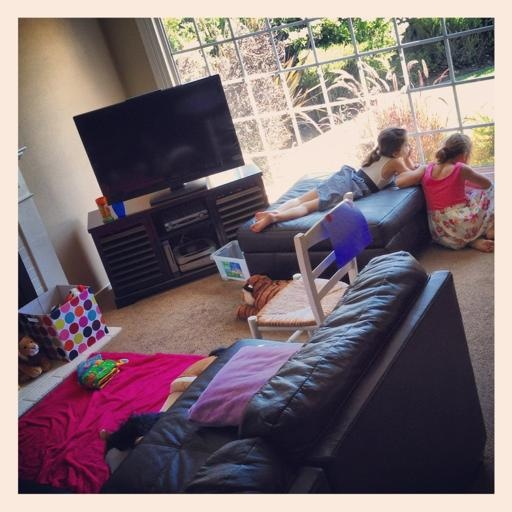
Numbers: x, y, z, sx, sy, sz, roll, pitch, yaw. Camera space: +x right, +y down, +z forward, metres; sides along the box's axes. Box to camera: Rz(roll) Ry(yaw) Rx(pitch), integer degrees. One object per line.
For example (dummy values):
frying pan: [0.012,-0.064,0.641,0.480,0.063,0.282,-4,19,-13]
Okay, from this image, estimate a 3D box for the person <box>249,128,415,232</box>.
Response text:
person: [0.571,-0.536,2.922,1.169,0.439,0.334,-15,25,-4]

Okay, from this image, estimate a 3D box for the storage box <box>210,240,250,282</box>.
storage box: [-0.163,0.044,3.243,0.279,0.236,0.350,-27,5,10]

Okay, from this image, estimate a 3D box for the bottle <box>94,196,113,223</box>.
bottle: [-1.243,-0.385,3.464,0.098,0.187,0.242,-25,19,-15]

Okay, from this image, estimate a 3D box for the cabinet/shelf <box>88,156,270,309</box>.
cabinet/shelf: [-0.531,-0.085,3.676,1.521,0.774,0.480,-21,-24,-4]

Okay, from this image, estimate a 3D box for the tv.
tv: [-0.839,-0.950,3.564,1.233,0.807,0.306,-17,31,6]

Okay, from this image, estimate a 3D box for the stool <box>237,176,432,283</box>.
stool: [0.507,-0.140,2.657,0.864,0.513,0.827,-11,11,16]

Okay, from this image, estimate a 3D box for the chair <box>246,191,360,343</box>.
chair: [0.235,0.058,2.161,0.451,0.799,0.471,16,54,30]

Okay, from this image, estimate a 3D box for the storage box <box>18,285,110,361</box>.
storage box: [-1.297,0.474,2.984,0.523,0.313,0.487,-19,14,10]

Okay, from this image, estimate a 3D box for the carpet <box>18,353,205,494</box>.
carpet: [-0.716,0.802,1.937,0.574,0.126,0.510,-11,10,23]

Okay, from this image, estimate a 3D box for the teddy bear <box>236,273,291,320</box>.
teddy bear: [0.038,0.262,2.623,0.288,0.096,0.282,-30,17,-15]

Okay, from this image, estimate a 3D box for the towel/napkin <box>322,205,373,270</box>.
towel/napkin: [0.408,-0.074,1.920,0.063,0.261,0.254,-27,56,-35]

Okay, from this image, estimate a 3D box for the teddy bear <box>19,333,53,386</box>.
teddy bear: [-1.466,0.662,2.749,0.311,0.292,0.190,-9,6,41]

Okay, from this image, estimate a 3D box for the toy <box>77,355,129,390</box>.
toy: [-0.808,0.593,2.209,0.139,0.065,0.175,9,30,38]
